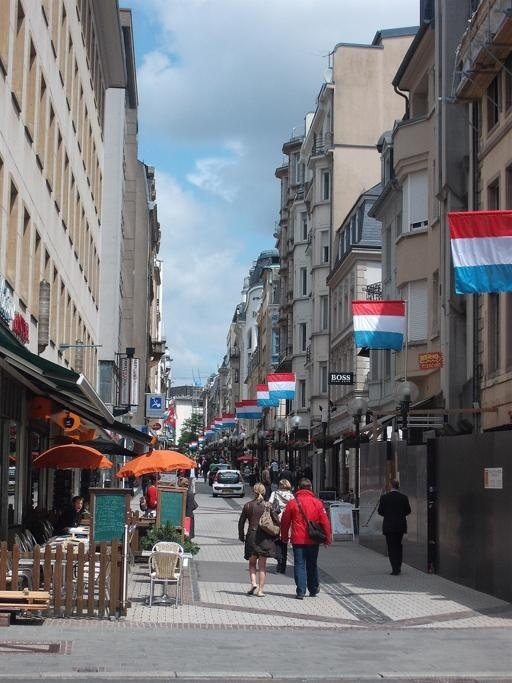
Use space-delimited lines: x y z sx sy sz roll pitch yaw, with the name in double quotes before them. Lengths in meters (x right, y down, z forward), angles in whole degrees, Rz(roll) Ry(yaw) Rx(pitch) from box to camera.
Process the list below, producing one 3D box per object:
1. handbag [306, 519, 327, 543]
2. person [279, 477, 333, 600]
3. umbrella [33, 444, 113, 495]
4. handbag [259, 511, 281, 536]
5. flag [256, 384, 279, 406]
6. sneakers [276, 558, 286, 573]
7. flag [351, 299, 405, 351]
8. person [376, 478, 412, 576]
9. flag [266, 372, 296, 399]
"handbag" 0.814 2.606 14.503 0.105 0.213 0.175 -34 -42 28
"person" 0.682 2.797 14.675 0.674 1.523 0.548 -1 -12 2
"umbrella" -3.836 2.739 22.988 1.337 0.838 5.465 1 -17 -6
"handbag" 0.187 2.565 14.823 0.083 0.229 0.208 -24 -47 19
"flag" 0.610 2.546 49.243 0.940 1.294 0.076 -1 -7 14
"sneakers" 0.452 3.933 18.531 0.121 0.312 0.188 0 -8 -5
"flag" 3.086 -0.401 26.561 1.241 1.545 0.167 1 -4 2
"person" 2.379 3.222 18.326 0.524 1.704 1.236 -2 -13 7
"flag" 1.116 2.000 46.439 0.970 1.272 0.139 0 6 -9
